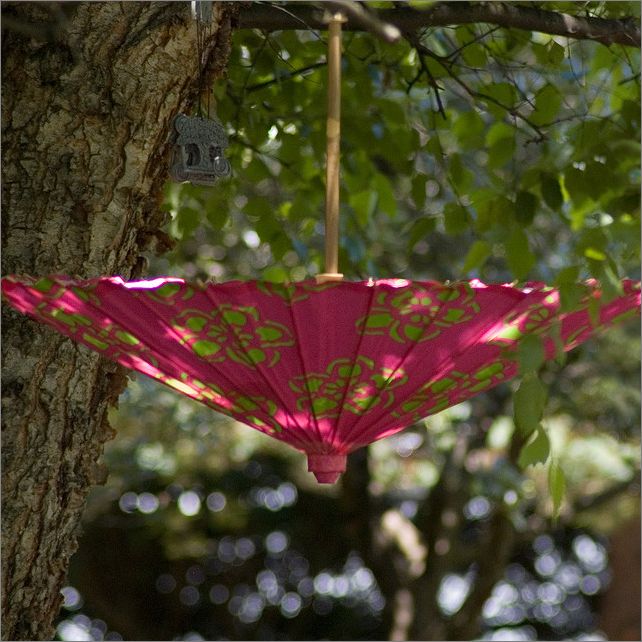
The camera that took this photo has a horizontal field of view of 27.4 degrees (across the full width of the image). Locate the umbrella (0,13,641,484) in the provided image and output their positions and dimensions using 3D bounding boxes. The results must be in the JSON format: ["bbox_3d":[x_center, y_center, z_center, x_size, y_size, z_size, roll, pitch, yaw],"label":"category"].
[{"bbox_3d":[-0.017,-0.091,3.225,1.342,1.093,0.705,-3,77,9],"label":"umbrella"}]
